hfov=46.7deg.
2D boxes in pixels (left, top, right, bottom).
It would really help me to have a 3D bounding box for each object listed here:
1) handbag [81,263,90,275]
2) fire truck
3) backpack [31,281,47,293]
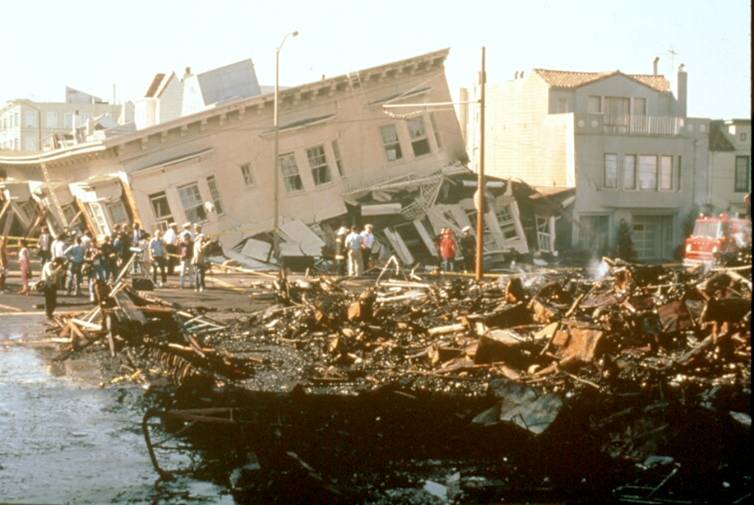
[{"bbox_3d":[-8.679,0.527,26.213,0.309,0.409,0.133,4,6,42],"label":"handbag"},{"bbox_3d":[12.698,-0.476,33.390,3.570,2.313,2.037,-1,-2,-39],"label":"fire truck"},{"bbox_3d":[-9.198,0.945,23.836,0.418,0.185,0.491,5,-9,-33],"label":"backpack"}]
